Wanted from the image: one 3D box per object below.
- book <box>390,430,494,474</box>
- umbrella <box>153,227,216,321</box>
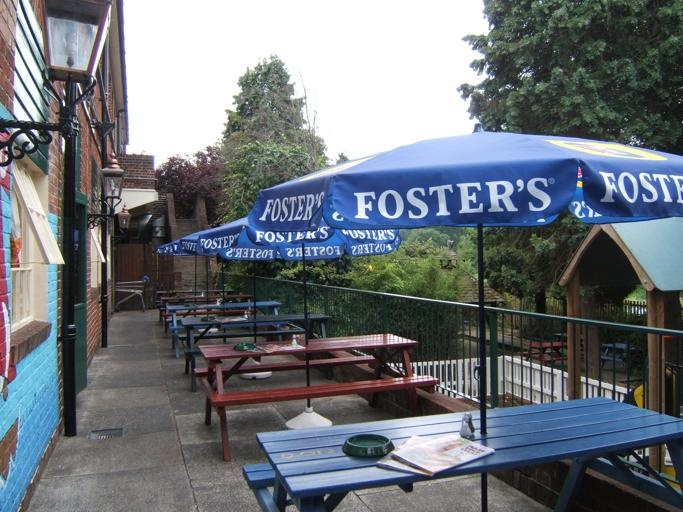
[{"bbox_3d":[0.682,1.334,3.873,0.327,0.037,0.326,-7,9,-41],"label":"book"},{"bbox_3d":[-5.222,0.730,18.800,3.038,2.667,2.543,-3,8,-20],"label":"umbrella"}]
